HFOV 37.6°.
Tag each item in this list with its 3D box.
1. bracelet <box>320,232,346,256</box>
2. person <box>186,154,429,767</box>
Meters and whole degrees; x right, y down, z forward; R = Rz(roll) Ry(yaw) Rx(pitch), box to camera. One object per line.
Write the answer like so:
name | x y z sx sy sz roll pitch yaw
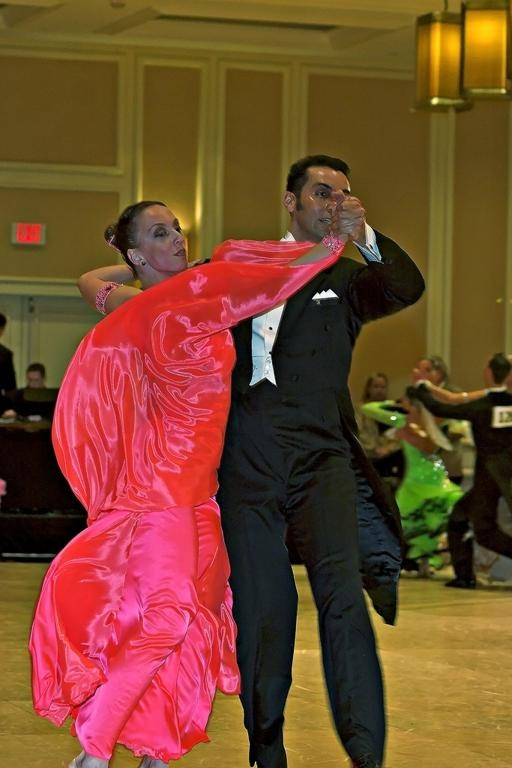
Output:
bracelet | 0.165 -0.297 1.594 0.038 0.012 0.044 9 -36 3
person | 0.135 0.206 1.561 0.411 1.095 0.404 2 -9 -6
